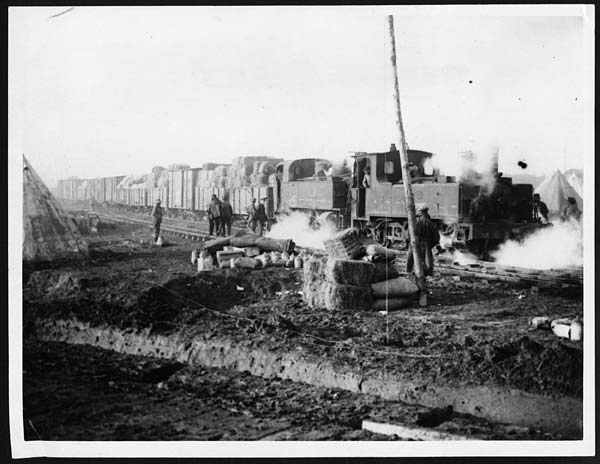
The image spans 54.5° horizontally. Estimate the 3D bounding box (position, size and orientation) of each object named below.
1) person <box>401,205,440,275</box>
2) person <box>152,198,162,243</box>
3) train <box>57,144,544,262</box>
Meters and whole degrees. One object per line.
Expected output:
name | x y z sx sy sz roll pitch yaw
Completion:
person | 2.468 0.151 11.861 0.688 1.371 1.541 -1 0 10
person | -3.976 -0.317 16.201 0.260 1.182 1.410 -1 0 -14
train | -1.525 -1.097 18.943 14.123 2.548 1.774 0 6 -9
